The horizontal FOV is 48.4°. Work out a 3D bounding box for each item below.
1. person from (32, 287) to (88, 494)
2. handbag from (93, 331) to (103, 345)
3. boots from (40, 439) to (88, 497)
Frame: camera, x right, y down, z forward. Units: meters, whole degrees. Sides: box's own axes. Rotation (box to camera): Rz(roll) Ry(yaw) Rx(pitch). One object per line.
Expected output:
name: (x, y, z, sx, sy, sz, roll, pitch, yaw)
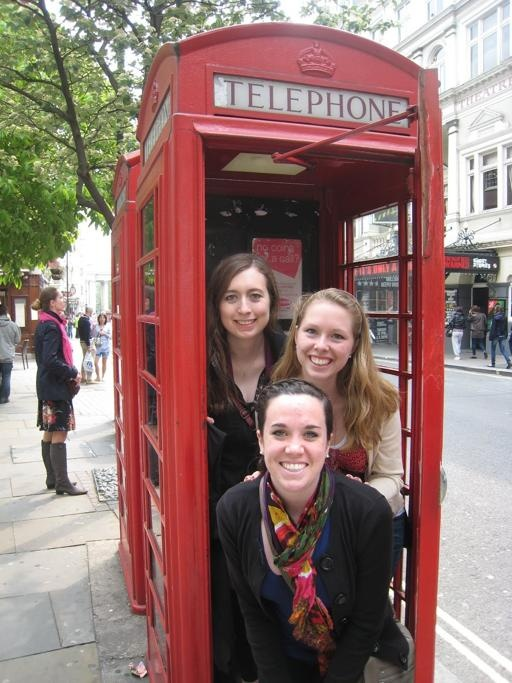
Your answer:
person: (-2.007, 0.498, 5.806, 0.445, 2.092, 0.654, -2, 3, -24)
handbag: (-4.073, -0.084, 14.644, 0.195, 0.412, 0.484, -1, 3, -15)
boots: (-2.020, 1.227, 5.953, 0.489, 0.672, 0.521, 0, 2, -30)
